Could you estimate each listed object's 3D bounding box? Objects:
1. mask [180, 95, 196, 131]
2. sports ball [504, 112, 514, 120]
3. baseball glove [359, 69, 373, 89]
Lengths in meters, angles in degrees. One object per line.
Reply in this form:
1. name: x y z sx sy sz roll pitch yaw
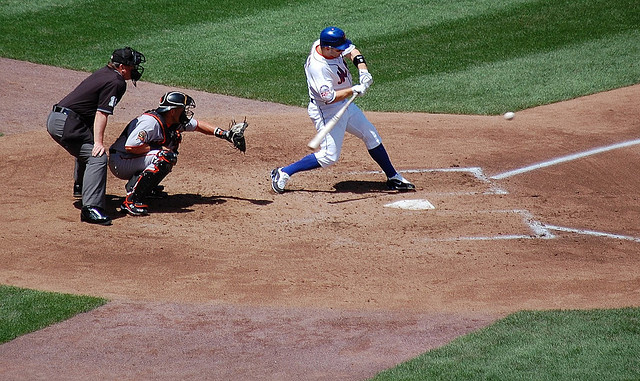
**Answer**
1. mask: -2.136 -1.267 12.445 0.230 0.598 0.477 -2 16 -8
2. sports ball: 3.992 -1.581 16.279 0.186 0.131 0.144 -4 37 10
3. baseball glove: 0.755 -1.894 12.852 0.193 0.272 0.281 1 15 2
